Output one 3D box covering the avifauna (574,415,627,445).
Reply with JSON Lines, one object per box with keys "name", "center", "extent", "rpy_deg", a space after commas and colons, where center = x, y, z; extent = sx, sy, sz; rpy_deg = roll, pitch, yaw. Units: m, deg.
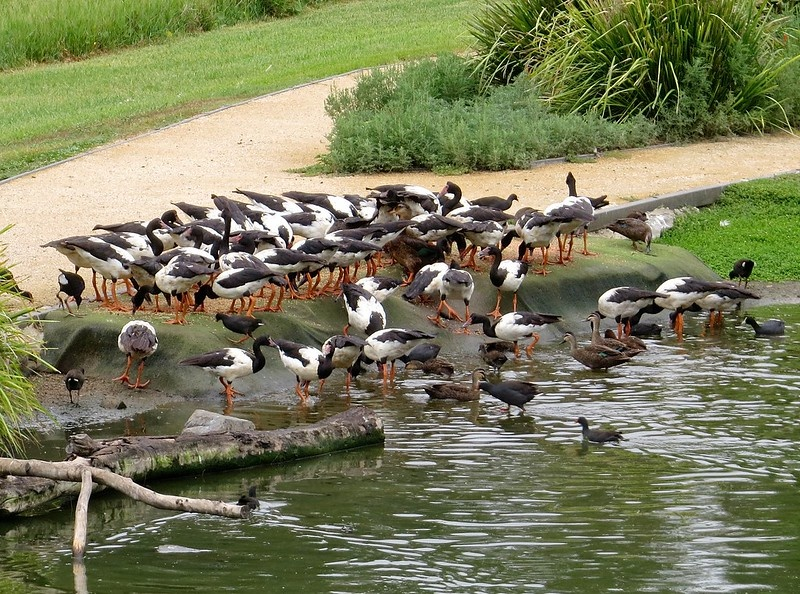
{"name": "avifauna", "center": [2.651, 1.774, 17.873], "extent": [0.593, 0.300, 0.429], "rpy_deg": [0, 27, 18]}
